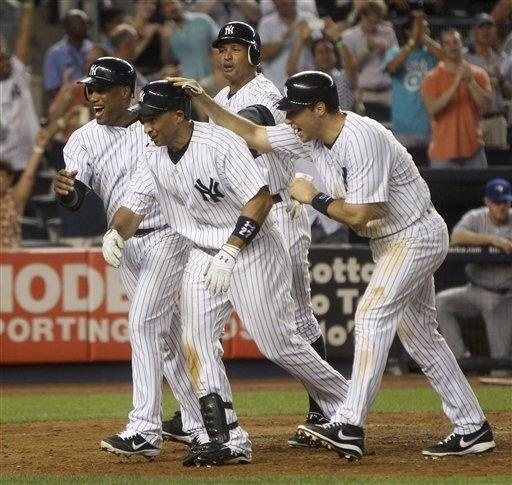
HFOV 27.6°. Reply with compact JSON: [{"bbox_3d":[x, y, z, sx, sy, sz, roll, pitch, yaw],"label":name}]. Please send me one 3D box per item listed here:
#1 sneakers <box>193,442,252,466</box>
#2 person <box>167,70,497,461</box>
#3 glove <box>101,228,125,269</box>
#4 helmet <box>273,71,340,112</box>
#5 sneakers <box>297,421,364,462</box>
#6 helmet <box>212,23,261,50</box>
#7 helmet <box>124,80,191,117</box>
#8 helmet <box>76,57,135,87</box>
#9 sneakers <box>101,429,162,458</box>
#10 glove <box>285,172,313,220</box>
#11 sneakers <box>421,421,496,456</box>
[{"bbox_3d":[-0.176,1.125,5.556,0.295,0.122,0.106,3,-3,-9],"label":"sneakers"},{"bbox_3d":[0.582,0.129,5.613,1.433,2.063,0.642,0,5,-1],"label":"person"},{"bbox_3d":[-0.751,0.032,5.659,0.116,0.204,0.058,-39,-29,25],"label":"glove"},{"bbox_3d":[0.271,-0.797,5.514,0.302,0.144,0.191,-3,26,-5],"label":"helmet"},{"bbox_3d":[0.396,0.986,5.419,0.399,0.186,0.125,23,-24,-17],"label":"sneakers"},{"bbox_3d":[-0.126,-1.217,6.154,0.275,0.166,0.197,1,4,10],"label":"helmet"},{"bbox_3d":[-0.494,-0.741,5.452,0.269,0.130,0.181,0,6,-23],"label":"helmet"},{"bbox_3d":[-0.843,-0.951,5.983,0.259,0.117,0.178,3,3,-42],"label":"helmet"},{"bbox_3d":[-0.674,1.097,5.717,0.336,0.162,0.116,18,6,-25],"label":"sneakers"},{"bbox_3d":[0.237,-0.233,5.919,0.145,0.105,0.273,14,12,8],"label":"glove"},{"bbox_3d":[1.115,1.076,5.706,0.445,0.178,0.150,-1,-6,-5],"label":"sneakers"}]
